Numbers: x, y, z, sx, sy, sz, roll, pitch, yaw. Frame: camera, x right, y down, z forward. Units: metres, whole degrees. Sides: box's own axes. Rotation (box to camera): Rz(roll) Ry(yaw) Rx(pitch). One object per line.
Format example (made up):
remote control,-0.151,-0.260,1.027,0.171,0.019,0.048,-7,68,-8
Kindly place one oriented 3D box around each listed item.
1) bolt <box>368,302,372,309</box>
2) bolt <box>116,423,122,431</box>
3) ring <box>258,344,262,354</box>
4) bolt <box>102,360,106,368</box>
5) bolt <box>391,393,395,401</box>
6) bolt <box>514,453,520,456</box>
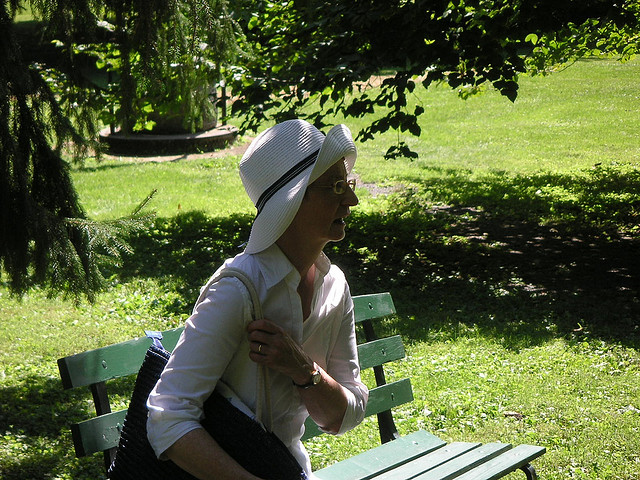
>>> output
bolt,0.436,0.574,8.150,0.024,0.034,0.019,-10,-2,-17
bolt,-1.561,1.445,7.207,0.067,0.039,0.015,-7,22,-8
ring,-0.421,0.772,6.572,0.026,0.066,0.013,-11,16,-43
bolt,-1.671,0.965,7.237,0.025,0.057,0.017,-3,12,-11
bolt,0.630,1.364,8.096,0.020,0.064,0.016,-2,15,27
bolt,1.577,1.727,7.489,0.033,0.006,0.063,1,10,6
